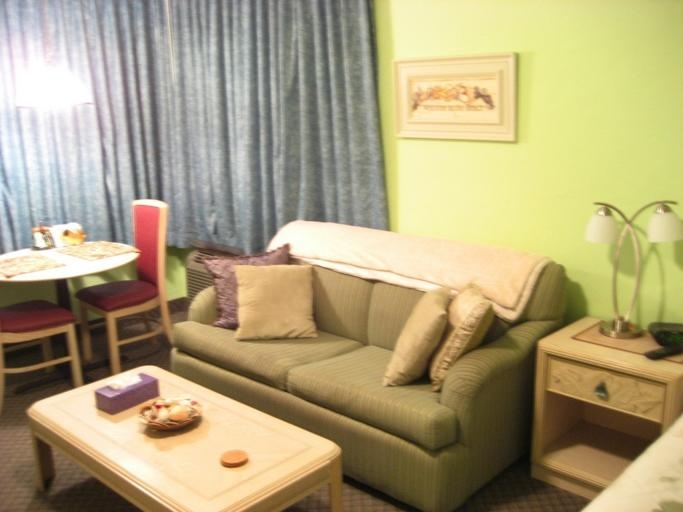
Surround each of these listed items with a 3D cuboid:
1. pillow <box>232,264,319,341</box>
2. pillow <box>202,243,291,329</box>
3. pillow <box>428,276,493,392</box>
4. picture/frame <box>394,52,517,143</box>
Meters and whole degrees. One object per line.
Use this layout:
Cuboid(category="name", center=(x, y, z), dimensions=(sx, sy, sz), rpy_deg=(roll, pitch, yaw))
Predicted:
Cuboid(category="pillow", center=(-0.396, 0.285, 3.253), dimensions=(0.584, 0.395, 0.175), rpy_deg=(1, -23, -16))
Cuboid(category="pillow", center=(-0.554, 0.199, 3.372), dimensions=(0.663, 0.459, 0.190), rpy_deg=(-9, -21, 5))
Cuboid(category="pillow", center=(0.524, 0.374, 2.632), dimensions=(0.193, 0.398, 0.449), rpy_deg=(22, 7, -14))
Cuboid(category="picture/frame", center=(0.629, -0.882, 3.183), dimensions=(0.067, 0.441, 0.893), rpy_deg=(-24, 27, -33))
